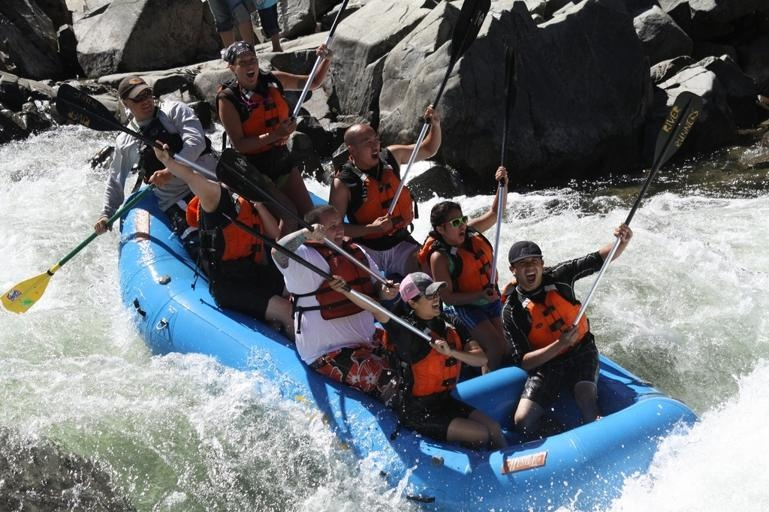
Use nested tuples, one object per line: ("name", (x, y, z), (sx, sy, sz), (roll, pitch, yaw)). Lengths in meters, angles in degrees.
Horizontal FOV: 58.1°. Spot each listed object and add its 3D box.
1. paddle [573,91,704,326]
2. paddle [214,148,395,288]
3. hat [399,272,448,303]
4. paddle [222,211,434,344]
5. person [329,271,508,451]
("paddle", (3.095, -0.537, 8.573), (0.348, 3.419, 0.252), (25, 16, -1))
("paddle", (-0.759, -0.317, 6.506), (0.304, 1.793, 0.139), (-52, 12, -34))
("hat", (0.311, 0.251, 5.660), (0.313, 0.183, 0.213), (-29, 4, 20))
("paddle", (-0.380, -0.086, 5.826), (0.689, 2.255, 0.196), (-45, 9, 52))
("person", (0.235, 0.941, 5.841), (0.527, 1.741, 0.791), (-19, 4, 43))
